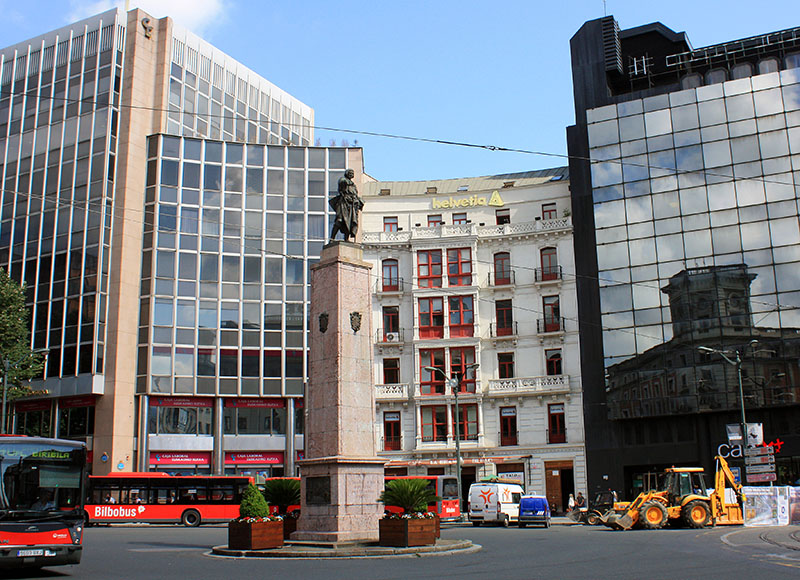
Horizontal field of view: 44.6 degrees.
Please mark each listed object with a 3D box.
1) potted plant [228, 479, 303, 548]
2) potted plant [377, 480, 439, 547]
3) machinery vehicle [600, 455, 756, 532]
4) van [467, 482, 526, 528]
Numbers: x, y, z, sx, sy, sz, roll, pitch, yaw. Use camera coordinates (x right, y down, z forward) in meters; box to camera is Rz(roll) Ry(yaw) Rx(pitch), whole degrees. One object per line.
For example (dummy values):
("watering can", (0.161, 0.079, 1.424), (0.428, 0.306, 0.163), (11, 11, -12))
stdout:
("potted plant", (-5.701, 9.283, 41.137), (2.074, 3.257, 2.084), (14, -23, -40))
("potted plant", (0.277, 9.552, 41.221), (3.165, 2.919, 2.630), (8, -17, -31))
("machinery vehicle", (14.349, 10.418, 50.424), (7.511, 3.258, 2.660), (1, -4, -8))
("van", (5.853, 13.012, 59.248), (2.541, 2.114, 4.573), (-5, -13, 28))
